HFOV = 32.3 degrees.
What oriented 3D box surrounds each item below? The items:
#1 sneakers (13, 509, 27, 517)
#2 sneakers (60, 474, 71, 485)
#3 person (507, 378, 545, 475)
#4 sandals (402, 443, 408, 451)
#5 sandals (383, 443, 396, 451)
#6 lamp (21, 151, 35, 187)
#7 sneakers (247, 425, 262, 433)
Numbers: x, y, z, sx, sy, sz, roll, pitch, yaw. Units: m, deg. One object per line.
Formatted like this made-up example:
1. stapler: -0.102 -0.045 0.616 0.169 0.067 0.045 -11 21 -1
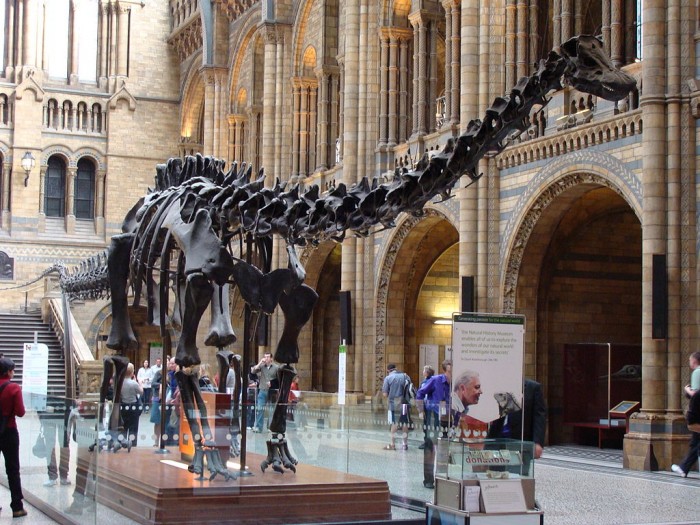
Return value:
1. sneakers: -4.582 3.477 16.700 0.087 0.095 0.242 5 4 36
2. sneakers: -3.894 2.990 16.514 0.098 0.116 0.285 5 -10 -28
3. person: 2.242 2.055 15.321 0.561 1.126 0.711 -2 -6 42
4. sandals: 0.772 2.580 16.882 0.064 0.074 0.189 0 -12 -2
5. sandals: 0.547 2.576 16.854 0.160 0.069 0.070 4 -7 -14
6. lamp: -10.437 -3.089 39.006 0.375 1.192 0.750 4 -5 -16
7. sneakers: -1.271 2.192 15.908 0.113 0.098 0.288 -1 -8 13
